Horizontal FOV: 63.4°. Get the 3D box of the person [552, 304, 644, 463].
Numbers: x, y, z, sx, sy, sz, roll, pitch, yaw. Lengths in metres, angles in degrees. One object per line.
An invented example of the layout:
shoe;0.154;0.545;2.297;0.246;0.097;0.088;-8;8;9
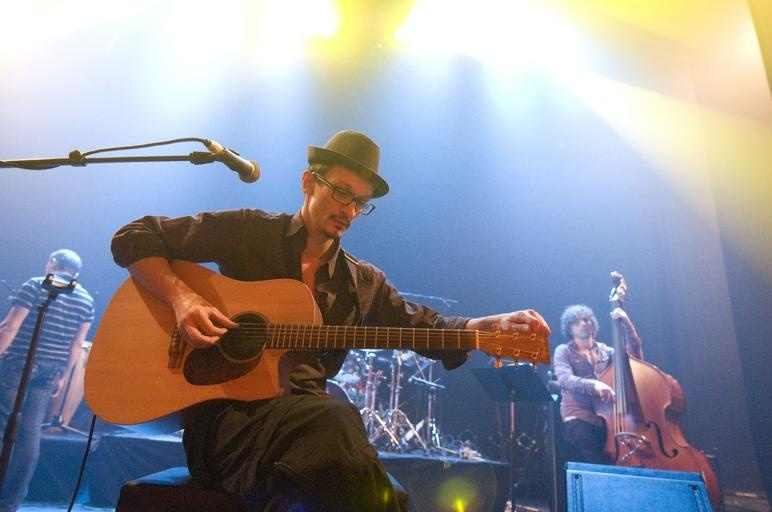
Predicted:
person;3.314;2.109;10.407;1.274;2.681;0.843;-8;-22;26
